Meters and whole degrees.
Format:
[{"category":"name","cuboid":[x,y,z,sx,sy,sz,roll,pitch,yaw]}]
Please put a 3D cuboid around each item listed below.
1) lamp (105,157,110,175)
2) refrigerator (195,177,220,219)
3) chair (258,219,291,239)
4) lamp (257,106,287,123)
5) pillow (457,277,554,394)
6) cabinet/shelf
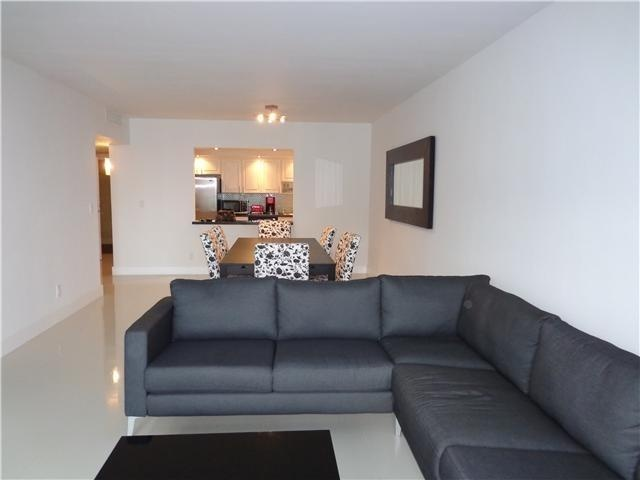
[{"category":"lamp","cuboid":[-3.678,-1.269,8.206,0.073,0.291,0.746,-4,11,-26]},{"category":"refrigerator","cuboid":[-2.213,-0.792,9.161,0.535,0.814,0.390,-6,12,-32]},{"category":"chair","cuboid":[-0.686,-0.156,7.189,0.319,0.290,0.324,0,3,-2]},{"category":"lamp","cuboid":[-0.701,-1.864,7.055,0.368,0.193,0.386,-8,17,-26]},{"category":"pillow","cuboid":[1.258,0.671,3.199,0.199,0.322,0.603,17,7,-11]},{"category":"cabinet/shelf","cuboid":[-1.638,-1.470,10.409,2.091,0.944,1.185,-1,10,-10]}]
